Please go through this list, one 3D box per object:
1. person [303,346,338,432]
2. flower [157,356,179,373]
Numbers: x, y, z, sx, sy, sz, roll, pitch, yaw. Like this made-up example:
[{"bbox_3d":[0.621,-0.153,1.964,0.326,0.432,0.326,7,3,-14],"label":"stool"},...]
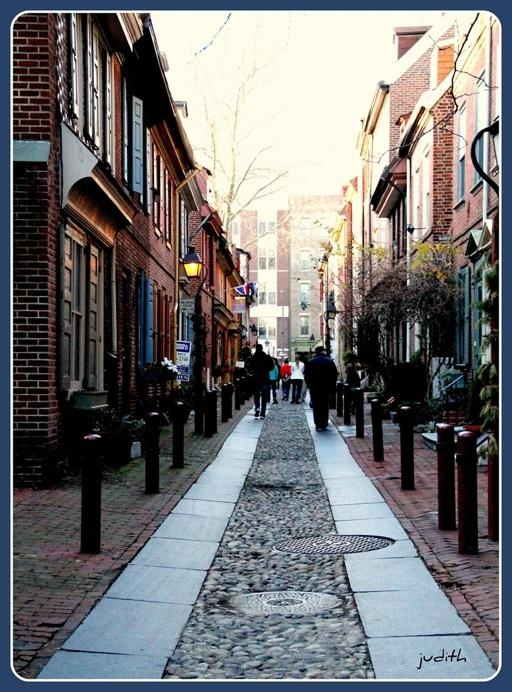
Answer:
[{"bbox_3d":[1.380,0.917,16.401,0.673,1.767,1.087,0,-1,4],"label":"person"},{"bbox_3d":[-1.854,0.440,16.494,0.279,0.323,0.673,1,-2,-38],"label":"flower"}]
